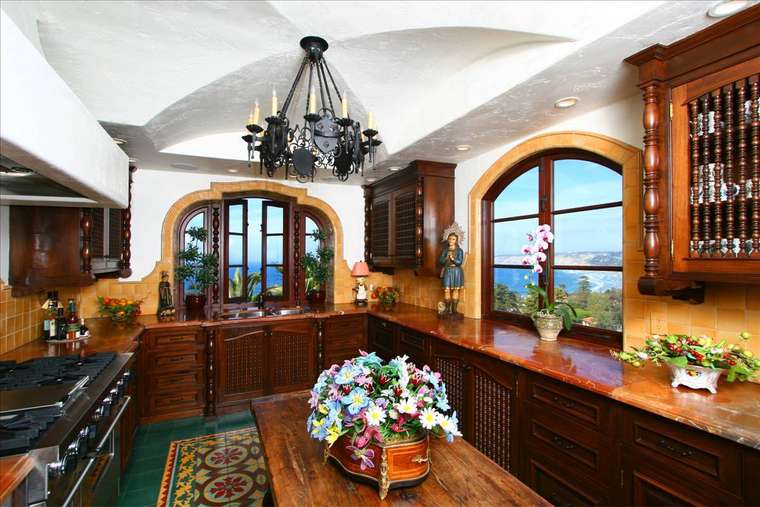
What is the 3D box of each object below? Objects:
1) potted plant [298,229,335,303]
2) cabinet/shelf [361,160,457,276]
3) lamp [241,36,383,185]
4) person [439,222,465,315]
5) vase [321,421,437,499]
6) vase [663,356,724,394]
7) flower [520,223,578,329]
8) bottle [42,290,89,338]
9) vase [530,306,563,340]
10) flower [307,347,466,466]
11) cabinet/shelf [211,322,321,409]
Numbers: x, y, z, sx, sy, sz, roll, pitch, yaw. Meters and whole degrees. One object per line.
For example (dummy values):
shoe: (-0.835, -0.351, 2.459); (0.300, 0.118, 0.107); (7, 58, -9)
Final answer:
potted plant: (-0.837, 0.168, 6.252); (0.437, 0.980, 0.582); (2, 9, 12)
cabinet/shelf: (0.287, -0.358, 5.689); (0.542, 1.163, 1.532); (0, -1, -27)
lamp: (-0.462, -1.048, 3.235); (0.956, 0.871, 0.911); (-6, 30, -16)
person: (0.735, 0.141, 4.811); (0.267, 0.902, 0.416); (2, 9, 9)
vase: (-0.039, 1.134, 2.571); (0.560, 0.281, 0.229); (3, 9, 20)
vase: (1.930, 0.747, 2.865); (0.303, 0.186, 0.121); (2, 9, 12)
flower: (1.417, 0.192, 3.982); (0.552, 0.890, 0.539); (6, 11, 34)
bottle: (-2.881, 0.522, 4.305); (0.431, 0.554, 0.441); (0, -1, 0)
vase: (1.393, 0.577, 3.921); (0.271, 0.195, 0.241); (2, 0, 6)
flower: (-0.024, 0.818, 2.745); (0.724, 0.420, 0.703); (1, -3, -7)
cabinet/shelf: (-1.278, 1.180, 4.963); (0.985, 0.769, 0.366); (2, -7, -27)
